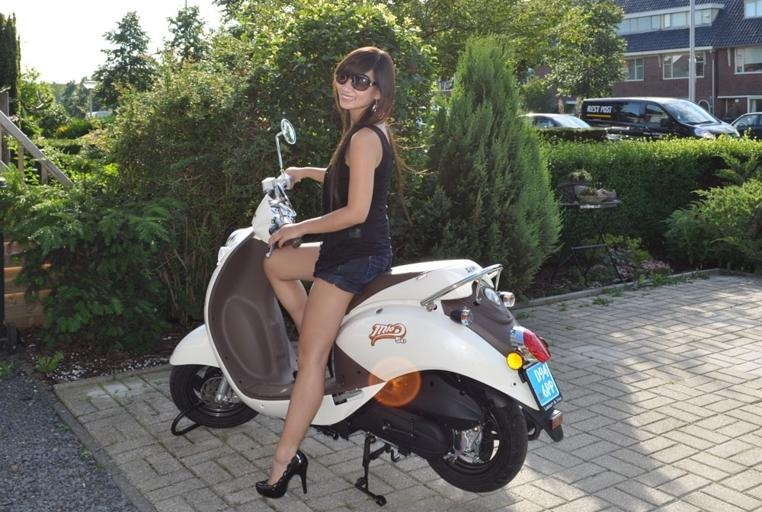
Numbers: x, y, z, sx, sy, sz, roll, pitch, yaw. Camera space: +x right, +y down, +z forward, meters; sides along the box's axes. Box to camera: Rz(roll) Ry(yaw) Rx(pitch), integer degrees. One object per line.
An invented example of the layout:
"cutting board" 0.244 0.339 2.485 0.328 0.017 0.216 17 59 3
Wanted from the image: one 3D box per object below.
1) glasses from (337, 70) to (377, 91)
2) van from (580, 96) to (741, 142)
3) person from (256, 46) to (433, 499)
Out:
"glasses" -0.167 -1.182 4.183 0.267 0.132 0.073 -3 12 -1
"van" 10.069 -4.861 22.915 2.107 2.344 6.193 -14 20 -23
"person" -0.340 0.139 4.367 1.020 3.093 0.666 -3 12 -2
